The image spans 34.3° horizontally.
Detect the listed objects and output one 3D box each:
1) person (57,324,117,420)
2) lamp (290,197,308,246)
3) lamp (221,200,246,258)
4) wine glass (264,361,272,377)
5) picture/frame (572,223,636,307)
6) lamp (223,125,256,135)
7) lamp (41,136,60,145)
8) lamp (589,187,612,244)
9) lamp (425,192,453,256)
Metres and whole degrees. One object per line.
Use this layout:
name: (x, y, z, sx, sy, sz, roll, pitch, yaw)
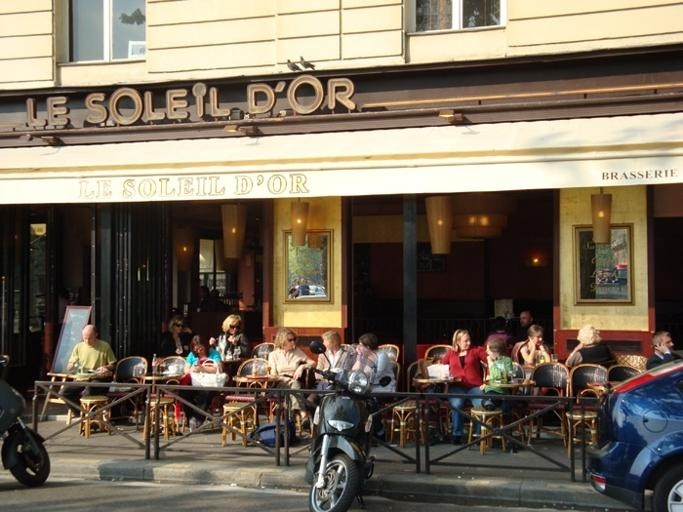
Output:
person: (-3.960, 1.815, 17.550, 0.536, 1.452, 0.745, 0, -1, -24)
lamp: (-0.705, -0.603, 19.055, 0.289, 0.806, 0.168, 0, -5, -5)
lamp: (-2.035, -0.535, 21.032, 0.439, 1.019, 0.604, 0, -6, -5)
wine glass: (-1.137, 1.763, 17.275, 0.116, 0.270, 0.126, -2, -7, 25)
picture/frame: (4.322, 0.129, 17.982, 1.180, 1.869, 0.163, 0, -1, 11)
lamp: (-1.598, -2.041, 17.826, 0.513, 0.149, 0.176, 0, -6, -1)
lamp: (-4.786, -1.929, 18.210, 0.185, 0.131, 0.199, 2, 3, 8)
lamp: (4.214, -0.668, 17.867, 0.324, 0.904, 0.391, -2, -6, 14)
lamp: (1.778, -0.598, 19.807, 0.288, 1.140, 0.388, -2, 3, -14)
